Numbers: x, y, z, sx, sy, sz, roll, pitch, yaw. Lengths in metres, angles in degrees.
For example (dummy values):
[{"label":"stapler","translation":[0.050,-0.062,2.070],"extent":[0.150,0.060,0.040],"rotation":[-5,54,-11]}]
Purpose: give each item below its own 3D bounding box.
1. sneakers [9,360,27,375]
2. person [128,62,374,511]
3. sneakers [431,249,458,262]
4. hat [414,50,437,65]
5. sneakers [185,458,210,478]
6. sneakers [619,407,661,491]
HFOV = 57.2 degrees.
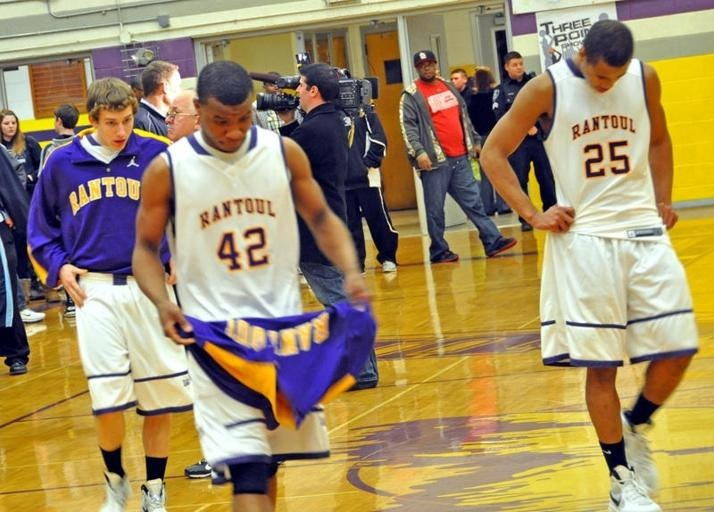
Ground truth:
[{"label":"sneakers","translation":[-3.111,1.015,5.985],"extent":[0.151,0.132,0.112],"rotation":[-11,10,-17]},{"label":"person","translation":[-0.346,0.145,2.319],"extent":[0.732,1.667,0.537],"rotation":[-13,11,-28]},{"label":"sneakers","translation":[1.146,-0.015,8.573],"extent":[0.311,0.131,0.154],"rotation":[-4,1,11]},{"label":"hat","translation":[0.867,-2.573,8.499],"extent":[0.272,0.198,0.371],"rotation":[-6,9,6]},{"label":"sneakers","translation":[-0.863,1.160,3.598],"extent":[0.184,0.085,0.085],"rotation":[3,-8,-1]},{"label":"sneakers","translation":[1.251,0.874,2.899],"extent":[0.121,0.365,0.161],"rotation":[-17,-29,19]}]
